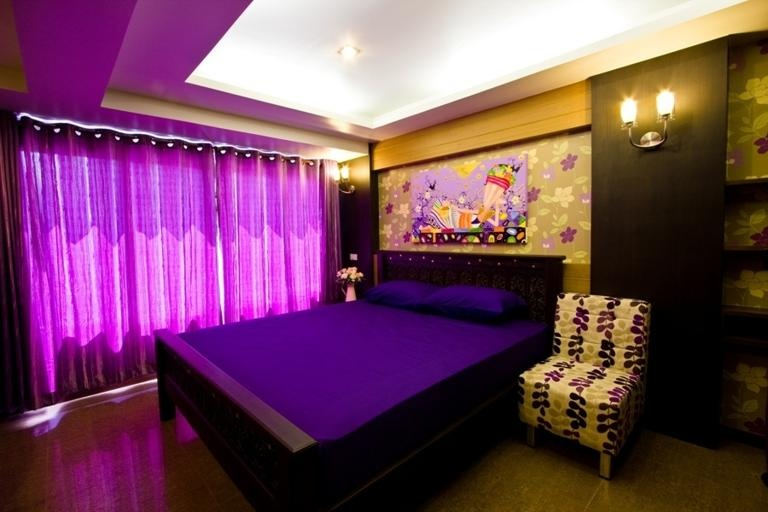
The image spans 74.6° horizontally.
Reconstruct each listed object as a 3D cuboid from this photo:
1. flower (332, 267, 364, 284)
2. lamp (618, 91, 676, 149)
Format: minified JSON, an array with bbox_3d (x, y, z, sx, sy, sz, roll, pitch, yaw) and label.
[{"bbox_3d":[-0.445,0.245,6.984,0.280,0.195,0.288,7,6,41],"label":"flower"},{"bbox_3d":[2.469,-1.265,4.681,0.270,0.642,0.561,-5,3,-44],"label":"lamp"}]
